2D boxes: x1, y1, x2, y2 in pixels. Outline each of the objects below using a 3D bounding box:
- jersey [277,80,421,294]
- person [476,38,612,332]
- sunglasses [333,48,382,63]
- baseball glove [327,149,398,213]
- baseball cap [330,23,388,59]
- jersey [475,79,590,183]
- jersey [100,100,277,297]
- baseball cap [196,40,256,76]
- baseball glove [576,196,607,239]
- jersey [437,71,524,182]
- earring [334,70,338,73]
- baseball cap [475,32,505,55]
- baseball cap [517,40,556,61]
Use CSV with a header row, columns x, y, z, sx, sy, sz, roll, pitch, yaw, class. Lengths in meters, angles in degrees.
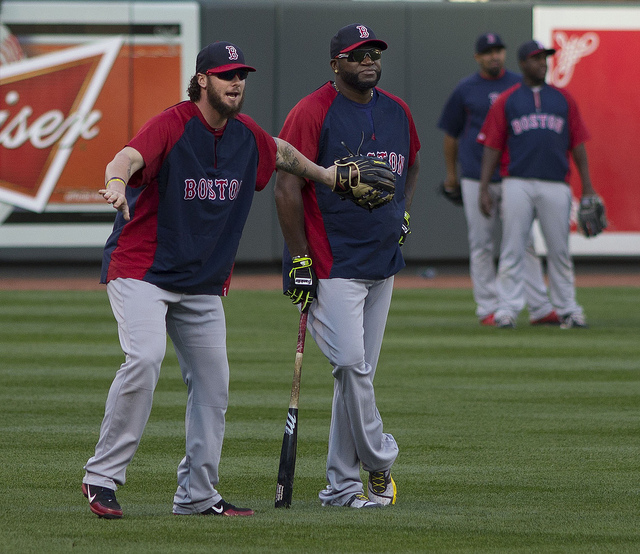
x,y,z,sx,sy,sz,roll,pitch,yaw,class
0.177,-0.561,9.354,0.821,1.212,0.481,-1,9,0,jersey
1.850,-0.748,13.200,1.003,2.456,0.520,0,9,5,person
0.223,-1.314,9.263,0.288,0.081,0.130,-1,10,1,sunglasses
0.276,-0.580,9.216,0.450,0.236,0.366,3,6,-10,baseball glove
0.214,-1.423,9.333,0.268,0.217,0.380,-13,21,-32,baseball cap
1.820,-1.233,13.107,0.894,0.929,0.486,1,6,2,jersey
-0.747,-0.455,8.920,1.010,1.093,0.299,-6,10,-26,jersey
-0.547,-1.254,8.889,0.288,0.217,0.371,-2,10,-25,baseball cap
2.356,-0.567,13.573,0.247,0.326,0.333,-13,21,21,baseball glove
1.559,-1.373,14.070,0.950,1.026,0.398,0,0,0,jersey
0.098,-1.227,9.303,0.014,0.003,0.014,3,-33,-10,earring
1.494,-2.049,13.800,0.187,0.159,0.264,-9,12,-13,baseball cap
1.786,-1.875,12.980,0.255,0.147,0.168,-24,-7,27,baseball cap
